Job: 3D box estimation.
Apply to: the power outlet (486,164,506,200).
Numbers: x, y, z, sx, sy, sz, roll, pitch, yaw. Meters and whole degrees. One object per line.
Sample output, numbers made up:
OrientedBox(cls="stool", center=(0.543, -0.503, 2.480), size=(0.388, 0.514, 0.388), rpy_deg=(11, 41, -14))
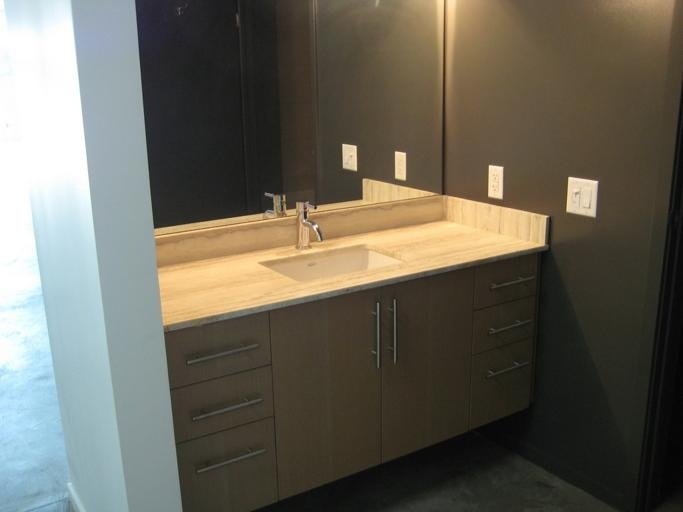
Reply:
OrientedBox(cls="power outlet", center=(0.734, -0.355, 2.593), size=(0.076, 0.156, 0.023), rpy_deg=(4, -9, 1))

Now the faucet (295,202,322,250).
OrientedBox(cls="faucet", center=(-0.145, -0.130, 2.444), size=(0.070, 0.230, 0.204), rpy_deg=(-10, 16, -40))
